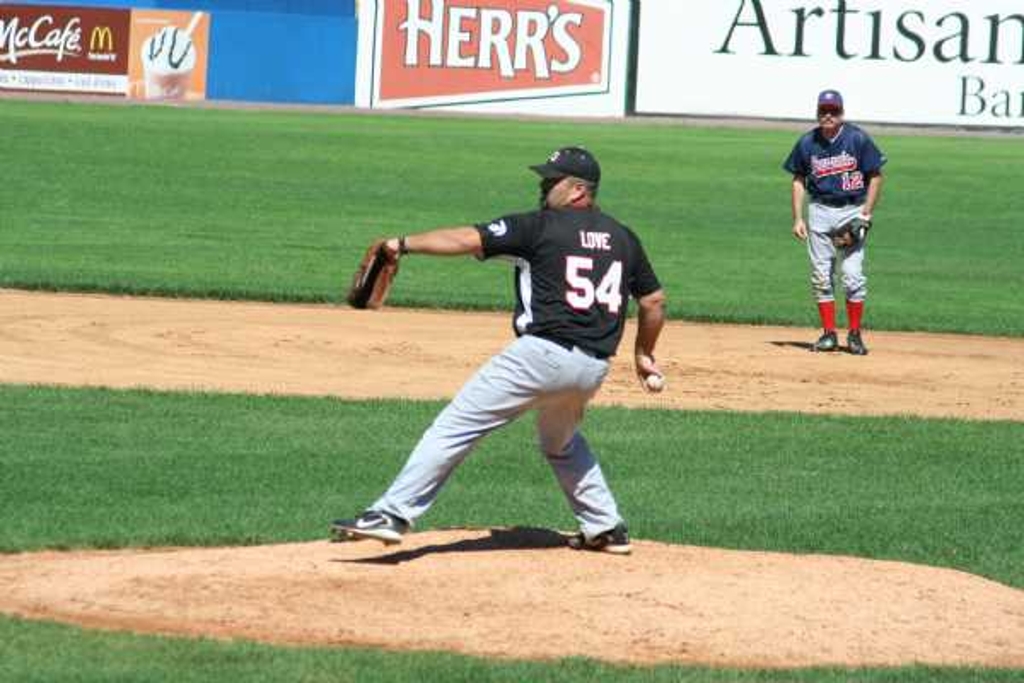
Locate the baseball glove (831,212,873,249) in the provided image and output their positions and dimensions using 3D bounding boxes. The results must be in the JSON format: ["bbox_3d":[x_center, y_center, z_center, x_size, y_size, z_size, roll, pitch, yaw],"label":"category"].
[{"bbox_3d":[5.429,-1.726,35.493,0.457,0.602,0.249,36,29,-23],"label":"baseball glove"}]

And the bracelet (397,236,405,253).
[{"bbox_3d":[-1.507,-1.269,30.302,0.089,0.233,0.216,-1,8,-15],"label":"bracelet"}]

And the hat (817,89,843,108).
[{"bbox_3d":[5.089,-3.773,35.524,0.391,0.319,0.613,4,6,10],"label":"hat"}]

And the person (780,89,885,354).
[{"bbox_3d":[5.205,-1.814,35.646,1.426,4.190,0.763,2,8,7],"label":"person"}]

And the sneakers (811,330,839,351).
[{"bbox_3d":[5.158,0.040,36.254,0.430,0.291,0.252,5,3,36],"label":"sneakers"}]

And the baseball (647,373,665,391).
[{"bbox_3d":[1.967,0.590,30.797,0.197,0.218,0.223,7,16,-22],"label":"baseball"}]
